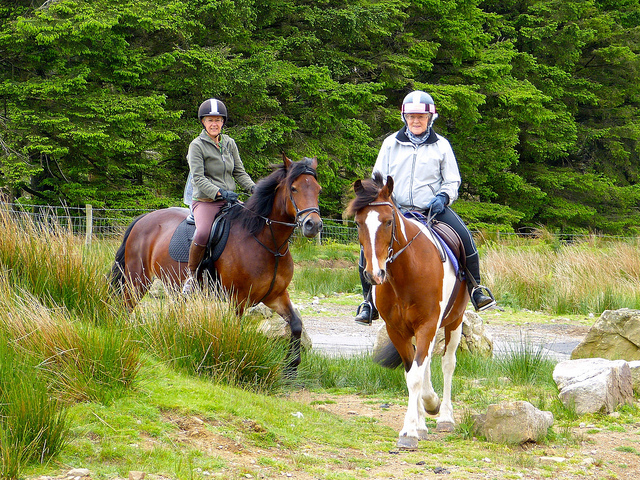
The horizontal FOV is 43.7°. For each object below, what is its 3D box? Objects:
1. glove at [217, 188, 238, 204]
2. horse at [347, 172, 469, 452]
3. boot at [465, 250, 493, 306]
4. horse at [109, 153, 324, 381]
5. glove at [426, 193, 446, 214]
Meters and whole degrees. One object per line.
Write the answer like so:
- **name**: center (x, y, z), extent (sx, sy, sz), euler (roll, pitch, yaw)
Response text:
- **glove**: center (-1.421, -0.712, 12.419), extent (0.233, 0.090, 0.185), euler (27, 19, 3)
- **horse**: center (1.380, 1.155, 11.135), extent (1.106, 3.248, 4.475), euler (-1, -10, 20)
- **boot**: center (2.225, 0.514, 11.135), extent (0.302, 0.749, 0.294), euler (-3, 6, -6)
- **horse**: center (-1.537, 0.195, 12.394), extent (2.838, 3.245, 2.824), euler (4, 8, -9)
- **glove**: center (1.635, -0.527, 11.162), extent (0.096, 0.282, 0.198), euler (31, -10, -16)
